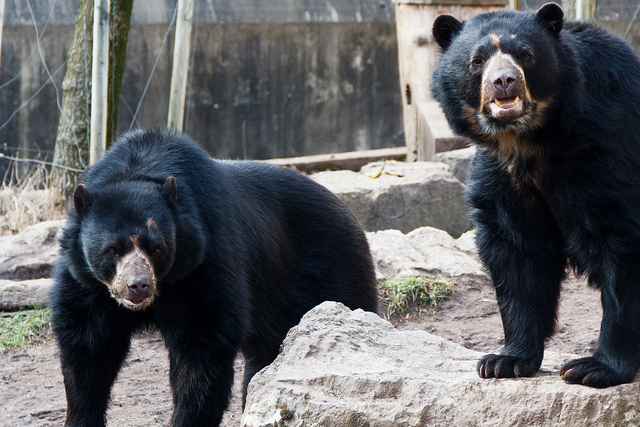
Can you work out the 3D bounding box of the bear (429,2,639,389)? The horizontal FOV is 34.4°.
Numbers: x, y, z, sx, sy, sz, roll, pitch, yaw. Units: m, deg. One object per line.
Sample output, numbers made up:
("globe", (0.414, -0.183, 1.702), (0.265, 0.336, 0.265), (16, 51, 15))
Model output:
("bear", (1.548, -0.165, 7.101), (1.287, 2.564, 0.688), (0, 6, 8))
